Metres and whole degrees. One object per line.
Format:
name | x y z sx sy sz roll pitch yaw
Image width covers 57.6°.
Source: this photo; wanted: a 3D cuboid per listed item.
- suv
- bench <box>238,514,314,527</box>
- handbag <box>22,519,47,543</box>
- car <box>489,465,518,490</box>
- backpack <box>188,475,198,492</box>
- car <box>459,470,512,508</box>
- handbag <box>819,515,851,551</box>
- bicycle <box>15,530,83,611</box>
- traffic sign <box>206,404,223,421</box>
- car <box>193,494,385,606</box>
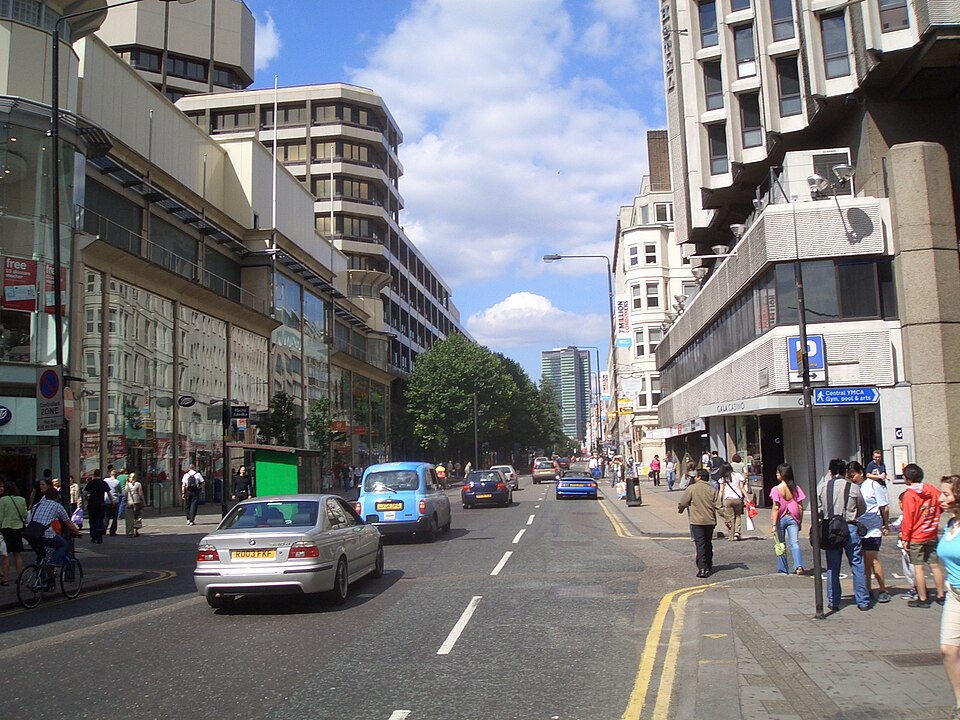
suv | -1.782 3.661 23.422 1.356 1.321 2.721 -1 -4 9
bench | -3.244 2.637 14.313 0.876 0.145 0.227 1 -9 0
handbag | -7.989 3.082 15.718 0.285 0.432 0.416 8 -25 -29
car | 1.777 6.948 51.733 1.222 1.161 2.895 -1 -2 9
backpack | -9.944 4.270 30.325 0.342 0.567 0.274 0 -9 -21
car | 0.315 5.431 37.245 2.134 1.655 1.734 6 -13 -44
handbag | 5.269 2.561 13.011 0.457 0.531 0.357 0 -5 38
bicycle | -7.919 3.917 15.766 0.641 0.894 1.411 -3 0 14
traffic sign | -9.951 1.907 32.789 0.456 0.685 0.928 -1 -5 -4
car | -2.989 3.148 14.663 1.802 1.852 3.206 -9 -11 32
